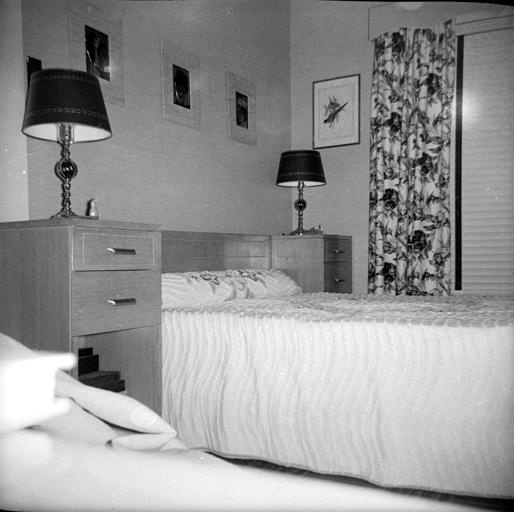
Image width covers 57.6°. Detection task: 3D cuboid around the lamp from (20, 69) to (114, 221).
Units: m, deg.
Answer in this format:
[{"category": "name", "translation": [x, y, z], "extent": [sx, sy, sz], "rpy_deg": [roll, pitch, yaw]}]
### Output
[{"category": "lamp", "translation": [-0.647, -0.375, 1.530], "extent": [0.281, 0.492, 0.424], "rpy_deg": [1, 5, -1]}]

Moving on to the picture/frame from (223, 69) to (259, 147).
[{"category": "picture/frame", "translation": [-0.112, -0.911, 2.842], "extent": [0.036, 0.413, 0.378], "rpy_deg": [4, 6, 23]}]

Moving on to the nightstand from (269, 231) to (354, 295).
[{"category": "nightstand", "translation": [0.410, 0.098, 3.195], "extent": [0.339, 0.506, 0.474], "rpy_deg": [-3, -1, 35]}]

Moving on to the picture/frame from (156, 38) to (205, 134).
[{"category": "picture/frame", "translation": [-0.403, -0.875, 2.377], "extent": [0.031, 0.455, 0.418], "rpy_deg": [5, 7, 20]}]
